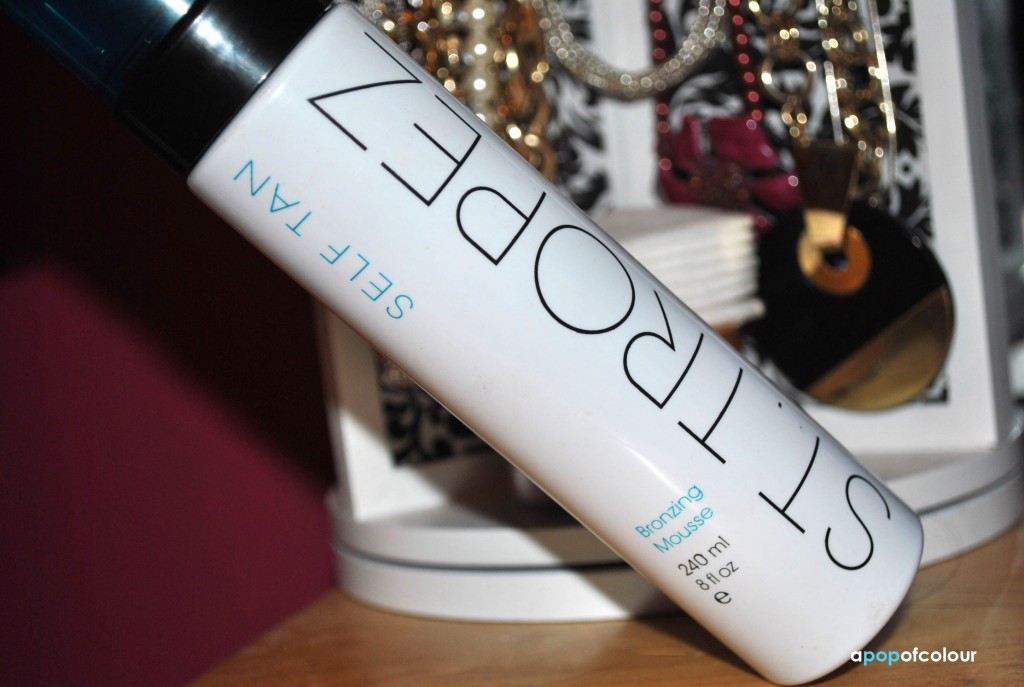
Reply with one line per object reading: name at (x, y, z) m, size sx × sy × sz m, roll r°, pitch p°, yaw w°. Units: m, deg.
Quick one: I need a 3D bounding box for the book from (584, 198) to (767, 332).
book at (0.099, -0.051, 0.511) m, size 0.060 × 0.031 × 0.078 m, roll -7°, pitch 21°, yaw -23°
